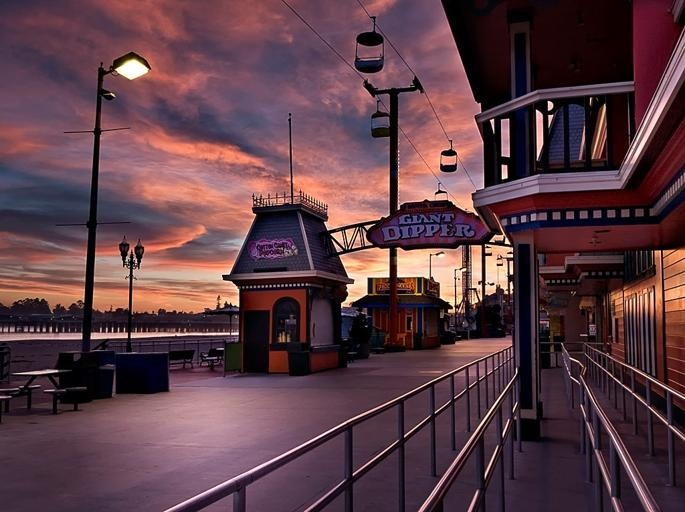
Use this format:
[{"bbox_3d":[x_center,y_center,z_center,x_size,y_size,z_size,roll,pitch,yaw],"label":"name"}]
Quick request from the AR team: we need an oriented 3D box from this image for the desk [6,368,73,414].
[{"bbox_3d":[-7.908,3.591,16.529,1.406,0.793,1.653,-1,-5,8],"label":"desk"}]

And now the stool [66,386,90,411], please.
[{"bbox_3d":[-6.651,3.571,15.965,0.662,0.722,0.646,0,-2,-12],"label":"stool"}]

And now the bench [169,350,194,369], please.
[{"bbox_3d":[-7.290,4.691,28.629,0.978,0.845,3.774,0,-10,-14],"label":"bench"}]
